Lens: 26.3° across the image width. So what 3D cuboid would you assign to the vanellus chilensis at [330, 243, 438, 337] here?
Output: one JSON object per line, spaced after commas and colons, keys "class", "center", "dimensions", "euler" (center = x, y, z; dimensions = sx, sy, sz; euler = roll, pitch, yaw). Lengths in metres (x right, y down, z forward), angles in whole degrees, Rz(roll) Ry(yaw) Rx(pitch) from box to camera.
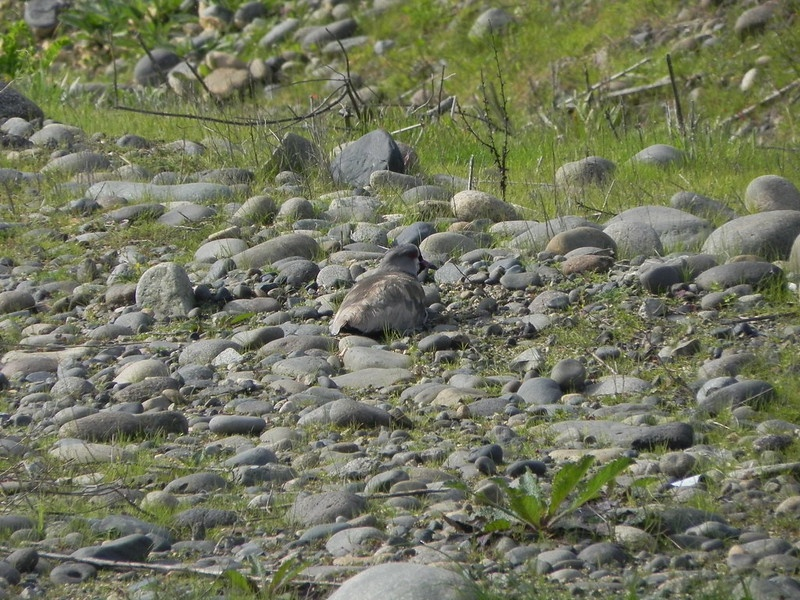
{"class": "vanellus chilensis", "center": [-0.165, -0.101, 17.203], "dimensions": [1.100, 0.778, 0.658], "euler": [-16, 24, -37]}
